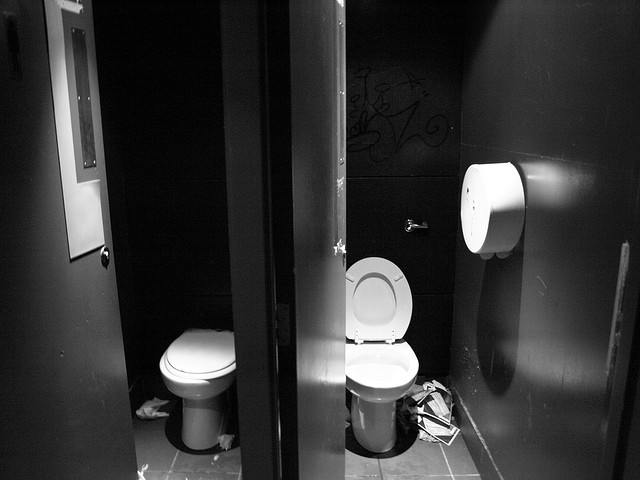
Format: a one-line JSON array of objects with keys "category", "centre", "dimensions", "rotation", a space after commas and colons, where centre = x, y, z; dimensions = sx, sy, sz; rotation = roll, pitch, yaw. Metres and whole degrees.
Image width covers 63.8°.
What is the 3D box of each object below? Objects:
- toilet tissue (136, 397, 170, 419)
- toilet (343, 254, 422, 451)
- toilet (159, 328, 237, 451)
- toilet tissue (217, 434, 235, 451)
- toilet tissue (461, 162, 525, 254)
[{"category": "toilet tissue", "centre": [-0.950, 0.958, 2.908], "dimensions": [0.091, 0.045, 0.118], "rotation": [35, 18, 36]}, {"category": "toilet", "centre": [0.316, 0.591, 2.740], "dimensions": [0.418, 0.918, 0.642], "rotation": [5, 15, 12]}, {"category": "toilet", "centre": [-0.622, 0.794, 2.689], "dimensions": [0.367, 0.538, 0.516], "rotation": [5, 16, 3]}, {"category": "toilet tissue", "centre": [-0.488, 1.056, 2.674], "dimensions": [0.088, 0.046, 0.073], "rotation": [-2, 16, -15]}, {"category": "toilet tissue", "centre": [0.689, -0.133, 2.076], "dimensions": [0.162, 0.352, 0.325], "rotation": [1, 15, -2]}]
